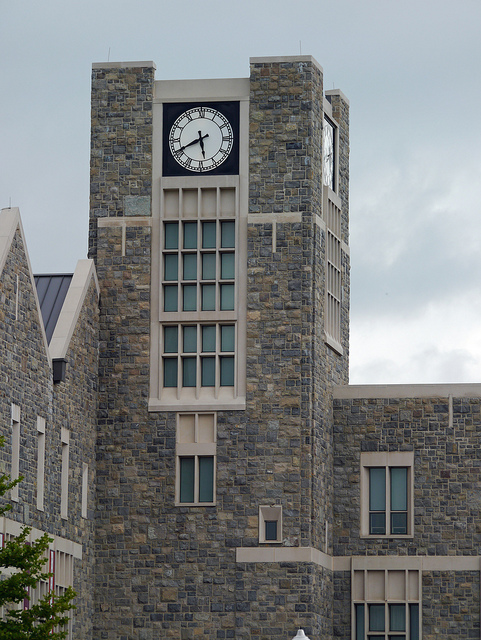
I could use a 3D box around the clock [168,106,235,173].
[{"bbox_3d":[-0.840,-4.084,51.446,1.087,1.553,0.083,0,-10,7],"label":"clock"}]
